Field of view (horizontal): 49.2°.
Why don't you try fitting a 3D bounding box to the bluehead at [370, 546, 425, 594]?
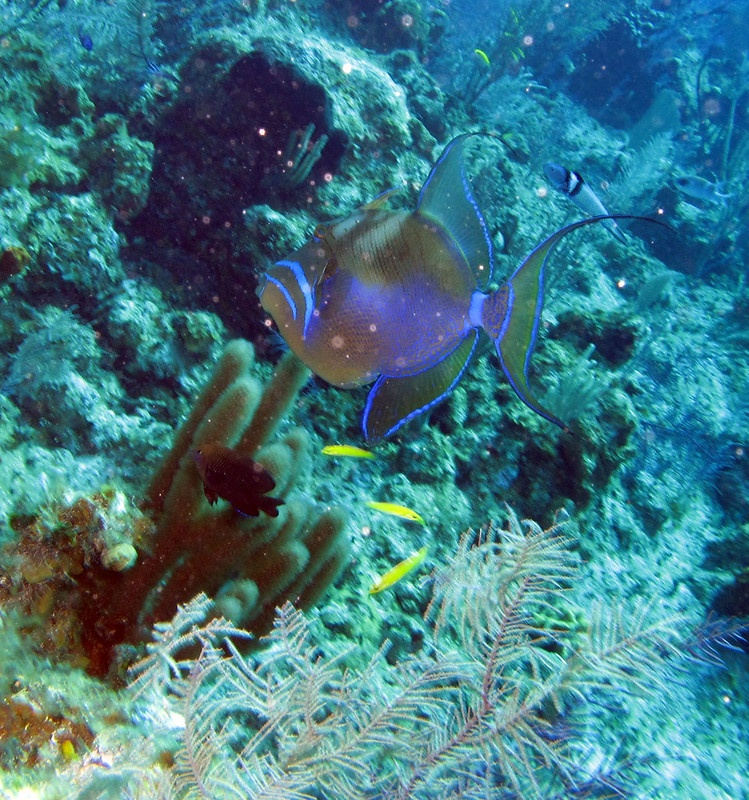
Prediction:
[{"bbox_3d":[0.116,0.968,4.632,0.272,0.109,0.055,-45,45,-4],"label":"bluehead"}]
